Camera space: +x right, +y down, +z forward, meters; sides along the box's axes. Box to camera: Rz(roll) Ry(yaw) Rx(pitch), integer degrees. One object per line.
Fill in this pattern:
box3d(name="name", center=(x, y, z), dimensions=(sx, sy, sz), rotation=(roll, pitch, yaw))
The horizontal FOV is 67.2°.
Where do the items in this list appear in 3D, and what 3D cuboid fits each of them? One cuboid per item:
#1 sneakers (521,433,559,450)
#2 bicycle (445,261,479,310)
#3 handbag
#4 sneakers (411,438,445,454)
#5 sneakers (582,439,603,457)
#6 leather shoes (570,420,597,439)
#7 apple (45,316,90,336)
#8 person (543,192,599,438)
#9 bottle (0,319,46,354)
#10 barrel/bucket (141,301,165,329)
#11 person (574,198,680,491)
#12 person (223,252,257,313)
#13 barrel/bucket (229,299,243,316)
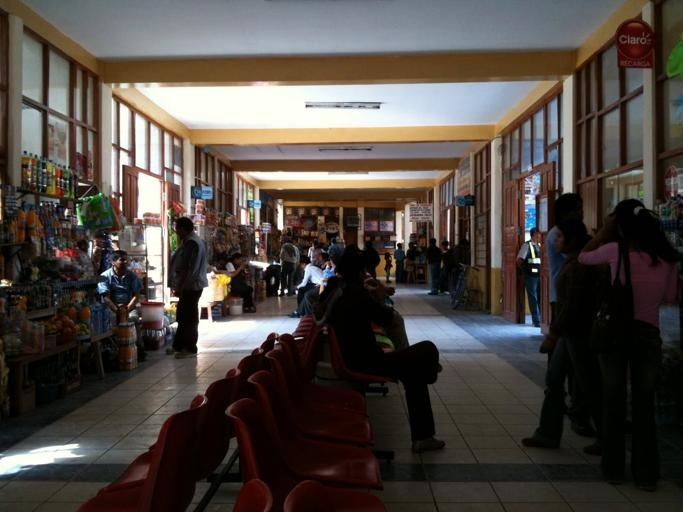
box3d(name="sneakers", center=(1.556, 1.440, 4.051), dimensions=(0.290, 0.128, 0.107), rotation=(3, -1, 16))
box3d(name="bicycle", center=(3.125, 0.743, 13.105), dimensions=(0.802, 1.468, 0.776), rotation=(5, -17, 4))
box3d(name="handbag", center=(1.821, 0.396, 3.529), dimensions=(0.285, 0.571, 0.401), rotation=(-2, -2, 23))
box3d(name="sneakers", center=(0.672, 1.460, 4.029), dimensions=(0.284, 0.136, 0.095), rotation=(-1, -1, -10))
box3d(name="sneakers", center=(1.904, 1.441, 3.878), dimensions=(0.155, 0.152, 0.067), rotation=(4, -1, 14))
box3d(name="leather shoes", center=(2.018, 1.441, 4.250), dimensions=(0.080, 0.072, 0.159), rotation=(2, -6, -11))
box3d(name="apple", center=(-2.987, 0.724, 5.597), dimensions=(0.247, 0.109, 0.248), rotation=(4, -5, 6))
box3d(name="person", center=(2.073, 0.298, 4.542), dimensions=(0.433, 1.643, 0.470), rotation=(-23, 20, -30))
box3d(name="bottle", center=(-3.043, 0.777, 4.947), dimensions=(0.112, 0.324, 0.423), rotation=(-1, 0, 27))
box3d(name="barrel/bucket", center=(-2.739, 0.852, 7.574), dimensions=(0.361, 0.360, 0.366), rotation=(0, 0, 0))
box3d(name="person", center=(1.938, 0.565, 3.447), dimensions=(0.607, 1.633, 0.339), rotation=(-1, -1, 24))
box3d(name="person", center=(-2.310, 0.579, 11.699), dimensions=(0.584, 1.339, 0.839), rotation=(-1, 0, -28))
box3d(name="barrel/bucket", center=(-2.283, 1.105, 11.195), dimensions=(0.308, 0.331, 0.339), rotation=(0, 2, 0))
